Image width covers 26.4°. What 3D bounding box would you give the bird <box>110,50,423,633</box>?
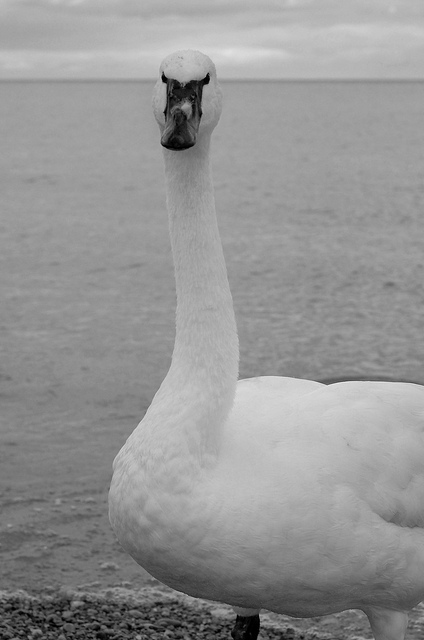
[{"bbox_3d":[0.130,0.094,1.918,0.732,1.287,0.405,-5,16,-10],"label":"bird"}]
